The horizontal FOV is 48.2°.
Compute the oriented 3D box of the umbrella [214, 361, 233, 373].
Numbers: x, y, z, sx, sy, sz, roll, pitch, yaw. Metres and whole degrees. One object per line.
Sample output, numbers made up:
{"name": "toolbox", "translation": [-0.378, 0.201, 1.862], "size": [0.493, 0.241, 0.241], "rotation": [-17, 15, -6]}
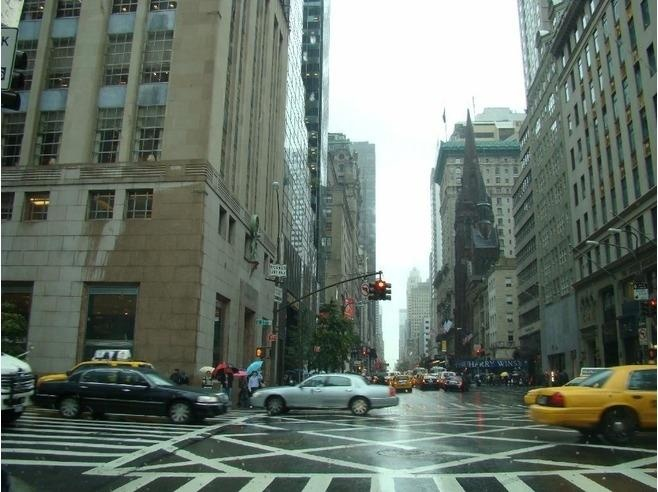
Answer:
{"name": "umbrella", "translation": [-5.810, 6.624, 40.784], "size": [0.871, 0.604, 0.920], "rotation": [6, -30, -10]}

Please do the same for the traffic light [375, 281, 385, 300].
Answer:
{"name": "traffic light", "translation": [2.675, 2.272, 37.403], "size": [0.558, 0.891, 0.321], "rotation": [-1, 5, -7]}
